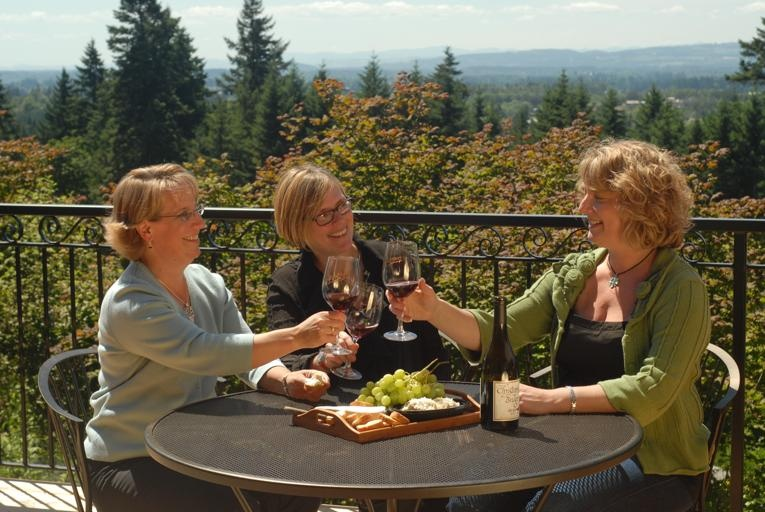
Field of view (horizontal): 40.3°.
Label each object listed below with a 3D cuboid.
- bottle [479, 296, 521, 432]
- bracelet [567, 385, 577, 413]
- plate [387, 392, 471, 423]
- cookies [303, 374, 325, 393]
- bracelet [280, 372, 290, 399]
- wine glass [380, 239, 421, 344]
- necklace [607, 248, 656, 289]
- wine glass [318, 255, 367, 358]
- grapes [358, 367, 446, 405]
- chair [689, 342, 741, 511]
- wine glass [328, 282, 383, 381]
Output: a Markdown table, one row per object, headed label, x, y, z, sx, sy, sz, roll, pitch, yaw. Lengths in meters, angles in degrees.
| label | x | y | z | sx | sy | sz | roll | pitch | yaw |
| --- | --- | --- | --- | --- | --- | --- | --- | --- | --- |
| bottle | 0.801 | 0.743 | 7.243 | 0.197 | 0.938 | 0.270 | 0 | 0 | -16 |
| bracelet | 1.338 | 1.011 | 7.343 | 0.050 | 0.151 | 0.144 | 1 | -32 | 4 |
| plate | 0.376 | 1.060 | 7.448 | 0.463 | 0.172 | 0.413 | -6 | 4 | -1 |
| cookies | -0.498 | 0.915 | 7.497 | 0.132 | 0.065 | 0.105 | 9 | 34 | -15 |
| bracelet | -0.710 | 0.948 | 7.573 | 0.035 | 0.119 | 0.097 | -7 | 3 | 9 |
| wine glass | 0.132 | 0.255 | 7.585 | 0.251 | 0.752 | 0.279 | 1 | 1 | 0 |
| necklace | 1.810 | 0.111 | 7.641 | 0.289 | 0.308 | 0.230 | -2 | -4 | 5 |
| wine glass | -0.297 | 0.356 | 7.568 | 0.264 | 0.735 | 0.320 | 2 | 1 | -2 |
| grapes | 0.133 | 0.932 | 7.435 | 0.636 | 0.305 | 0.253 | -6 | -12 | 0 |
| chair | 2.457 | 1.194 | 7.536 | 0.433 | 0.428 | 1.130 | 4 | 39 | -3 |
| wine glass | -0.198 | 0.567 | 7.570 | 0.298 | 0.775 | 0.381 | 2 | 2 | 2 |
